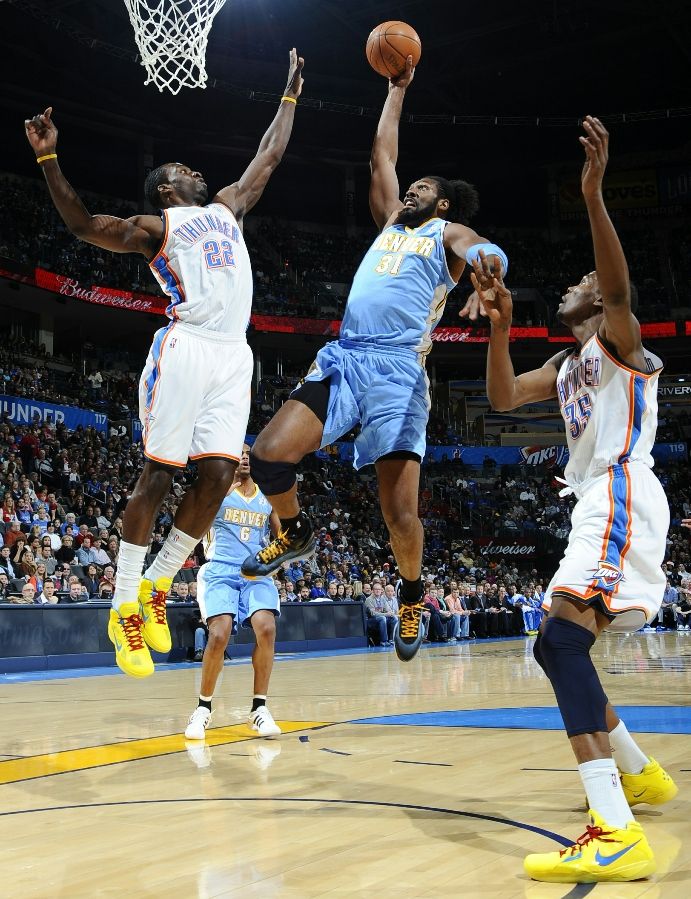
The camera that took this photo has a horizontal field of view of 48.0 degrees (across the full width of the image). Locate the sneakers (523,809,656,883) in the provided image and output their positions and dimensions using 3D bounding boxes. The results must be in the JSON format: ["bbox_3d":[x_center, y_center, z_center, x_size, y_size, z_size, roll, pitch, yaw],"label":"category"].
[{"bbox_3d":[0.488,0.867,1.685,0.322,0.139,0.110,0,-22,5],"label":"sneakers"}]

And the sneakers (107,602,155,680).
[{"bbox_3d":[-0.894,0.734,3.143,0.156,0.186,0.398,-7,34,-30],"label":"sneakers"}]

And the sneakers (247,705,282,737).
[{"bbox_3d":[-0.419,1.423,4.042,0.088,0.103,0.238,-4,-14,-20],"label":"sneakers"}]

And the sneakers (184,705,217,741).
[{"bbox_3d":[-0.749,1.397,3.962,0.088,0.085,0.226,4,-9,0],"label":"sneakers"}]

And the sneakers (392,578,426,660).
[{"bbox_3d":[0.294,0.779,3.550,0.156,0.400,0.166,-1,-24,5],"label":"sneakers"}]
